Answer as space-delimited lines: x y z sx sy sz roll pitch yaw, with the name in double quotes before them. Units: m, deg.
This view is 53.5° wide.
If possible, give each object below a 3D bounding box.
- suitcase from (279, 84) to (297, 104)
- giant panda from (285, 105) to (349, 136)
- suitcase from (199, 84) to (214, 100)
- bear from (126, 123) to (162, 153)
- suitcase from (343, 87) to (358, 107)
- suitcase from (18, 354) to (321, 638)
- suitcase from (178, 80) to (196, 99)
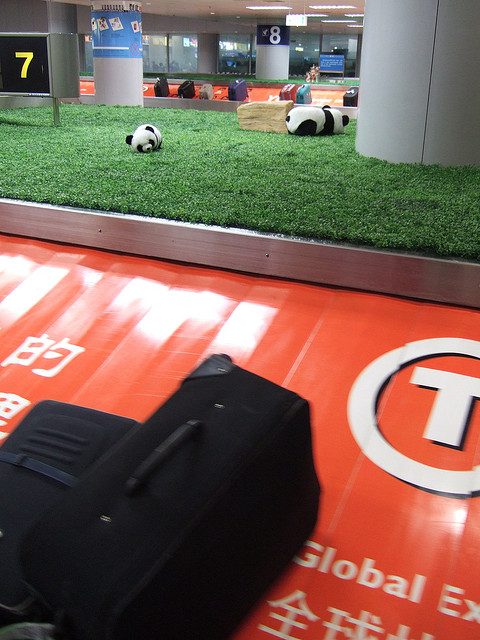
"suitcase" 0.875 -4.049 8.528 0.289 0.327 0.740 2 24 5
"giant panda" 0.901 -2.325 5.582 0.746 0.308 0.284 -9 25 -20
"suitcase" -0.748 -5.030 10.478 0.293 0.299 0.329 -2 24 -4
"bear" -0.846 -1.613 4.198 0.241 0.231 0.300 3 10 -8
"suitcase" 1.973 -3.953 8.510 0.230 0.268 0.604 4 24 10
"suitcase" -0.099 0.322 0.819 0.307 0.299 0.530 10 26 23
"suitcase" -1.163 -4.968 10.244 0.297 0.344 0.675 4 24 9
